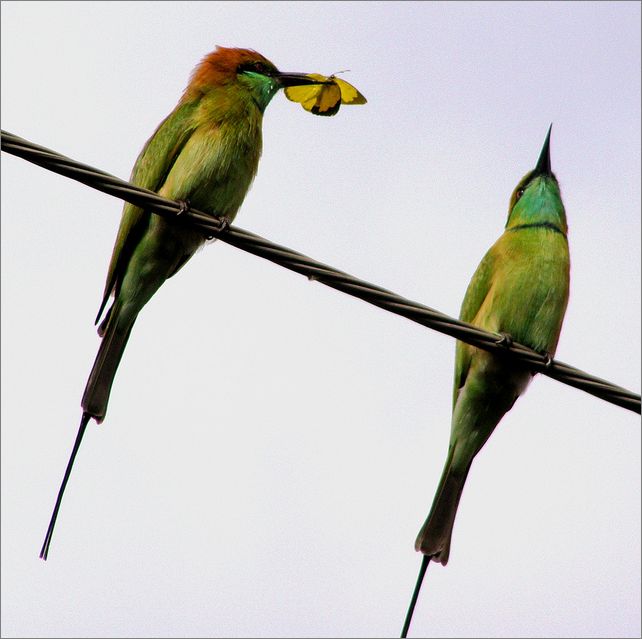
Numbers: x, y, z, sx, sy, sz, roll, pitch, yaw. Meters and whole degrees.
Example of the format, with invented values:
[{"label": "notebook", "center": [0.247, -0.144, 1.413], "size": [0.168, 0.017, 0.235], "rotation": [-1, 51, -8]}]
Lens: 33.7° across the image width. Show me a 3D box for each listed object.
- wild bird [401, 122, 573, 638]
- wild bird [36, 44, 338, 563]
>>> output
[{"label": "wild bird", "center": [0.666, 0.135, 4.027], "size": [0.281, 1.941, 0.478], "rotation": [19, -9, -21]}, {"label": "wild bird", "center": [-0.523, -0.396, 3.869], "size": [0.481, 1.905, 0.369], "rotation": [25, -3, 16]}]
